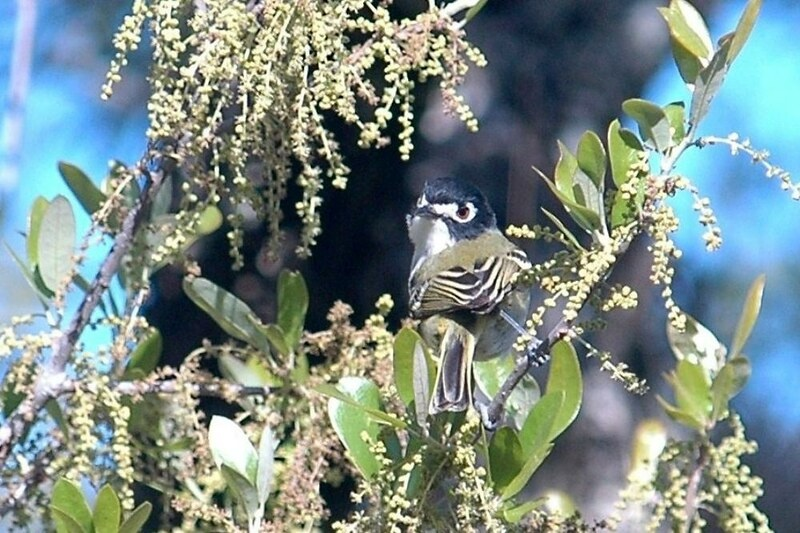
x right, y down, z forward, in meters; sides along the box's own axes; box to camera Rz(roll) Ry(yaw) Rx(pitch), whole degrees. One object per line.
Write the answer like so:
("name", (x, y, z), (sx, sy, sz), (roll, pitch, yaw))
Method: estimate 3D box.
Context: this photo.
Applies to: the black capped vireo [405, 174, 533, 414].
("black capped vireo", (0.182, 0.094, 3.166), (0.271, 0.586, 0.662), (-9, 7, 15))
